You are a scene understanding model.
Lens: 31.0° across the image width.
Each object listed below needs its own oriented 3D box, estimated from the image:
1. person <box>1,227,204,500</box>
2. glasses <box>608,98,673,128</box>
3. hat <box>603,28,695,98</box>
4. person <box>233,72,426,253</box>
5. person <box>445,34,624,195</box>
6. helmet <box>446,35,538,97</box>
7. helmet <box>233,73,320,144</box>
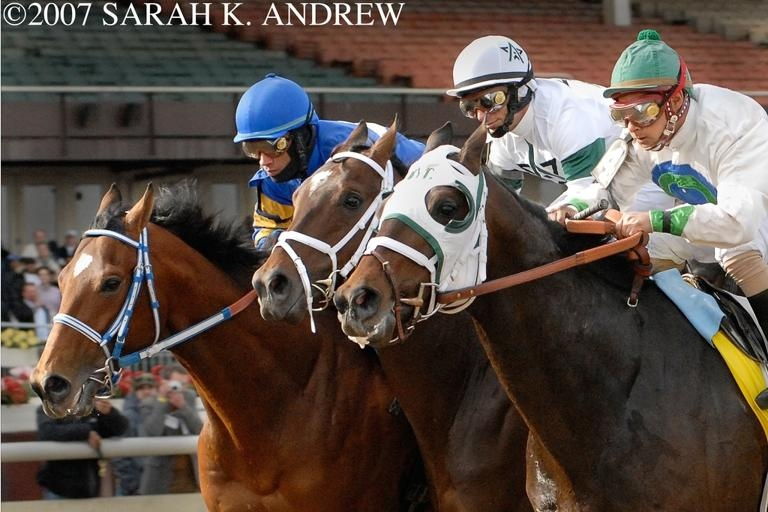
[{"bbox_3d":[-1.945,0.856,9.669,0.471,1.863,1.389,-18,17,1],"label":"person"},{"bbox_3d":[1.516,-0.850,8.286,0.320,0.155,0.079,0,1,7],"label":"glasses"},{"bbox_3d":[1.596,-1.192,8.443,0.630,0.399,0.454,-3,1,-29],"label":"hat"},{"bbox_3d":[-0.210,-0.628,9.866,0.694,1.206,2.413,6,9,36],"label":"person"},{"bbox_3d":[1.110,-0.743,9.239,1.294,1.290,0.974,-1,-2,-25],"label":"person"},{"bbox_3d":[0.680,-1.270,9.101,0.697,0.337,0.467,-9,4,-36],"label":"helmet"},{"bbox_3d":[-0.787,-1.022,9.230,0.544,0.363,0.702,7,23,36],"label":"helmet"}]
